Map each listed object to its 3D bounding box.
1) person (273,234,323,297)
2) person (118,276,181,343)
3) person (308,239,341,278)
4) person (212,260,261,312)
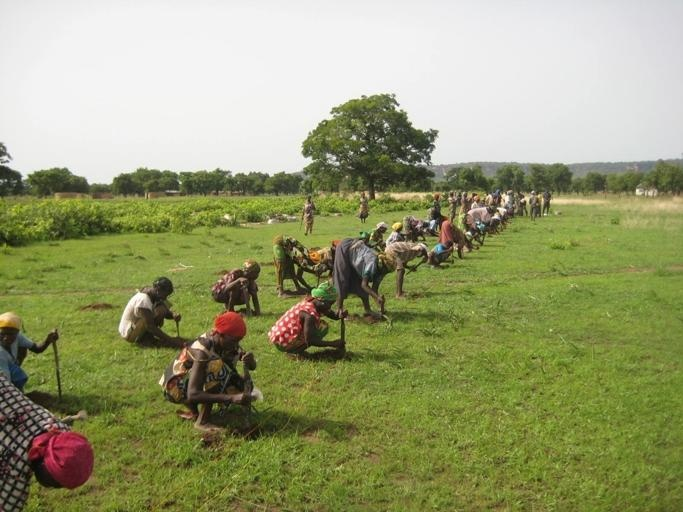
[{"bbox_3d":[-0.915,0.130,14.703,1.563,1.781,0.979,-8,11,-43],"label":"person"},{"bbox_3d":[-3.557,0.991,10.777,1.262,1.382,1.071,0,19,-16],"label":"person"},{"bbox_3d":[-0.516,0.048,14.099,1.212,0.828,0.449,-8,31,-32],"label":"person"},{"bbox_3d":[-2.183,0.713,12.233,1.029,1.259,0.649,-2,6,-20],"label":"person"}]
